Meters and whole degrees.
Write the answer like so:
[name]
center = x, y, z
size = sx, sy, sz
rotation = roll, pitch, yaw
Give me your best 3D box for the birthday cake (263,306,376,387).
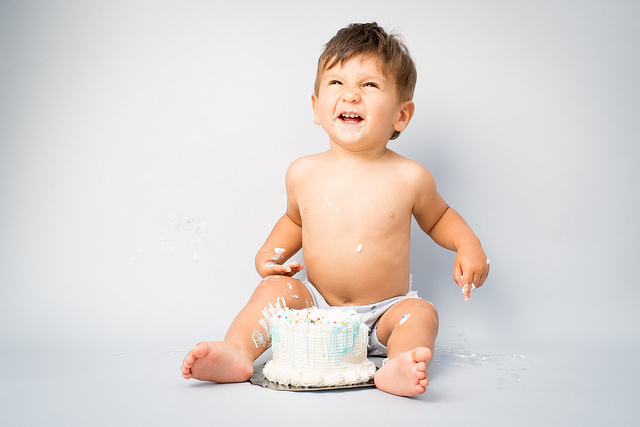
[birthday cake]
center = 0.011, 0.570, 2.593
size = 0.462, 0.304, 0.497
rotation = -1, -4, 38
